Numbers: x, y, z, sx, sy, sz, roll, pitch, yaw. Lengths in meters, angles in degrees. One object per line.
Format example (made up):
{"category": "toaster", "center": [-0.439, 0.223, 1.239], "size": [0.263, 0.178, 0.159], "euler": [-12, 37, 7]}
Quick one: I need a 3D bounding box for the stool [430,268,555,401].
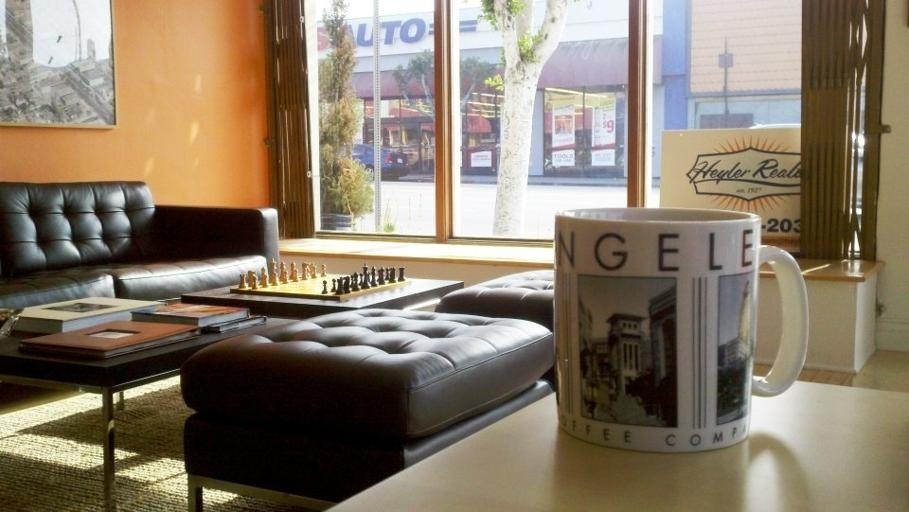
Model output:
{"category": "stool", "center": [0.267, 0.360, 3.235], "size": [0.497, 0.283, 0.654], "euler": [0, 5, 30]}

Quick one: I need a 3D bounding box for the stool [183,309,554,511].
{"category": "stool", "center": [-0.311, 0.473, 2.288], "size": [0.759, 0.519, 1.002], "euler": [-1, 3, 32]}
